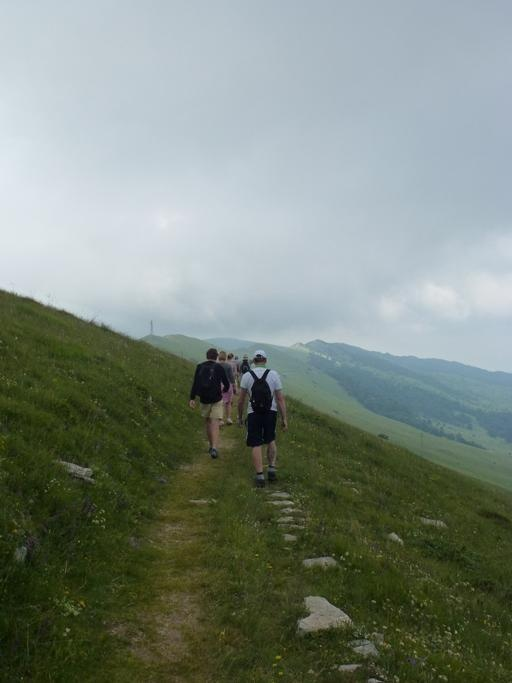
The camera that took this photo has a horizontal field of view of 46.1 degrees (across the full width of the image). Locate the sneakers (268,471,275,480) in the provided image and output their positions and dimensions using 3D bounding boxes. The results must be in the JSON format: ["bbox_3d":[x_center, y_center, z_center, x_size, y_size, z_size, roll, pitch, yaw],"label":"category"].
[{"bbox_3d":[0.379,3.360,15.090,0.179,0.227,0.182,-6,-5,43],"label":"sneakers"}]

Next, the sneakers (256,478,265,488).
[{"bbox_3d":[0.097,3.364,14.330,0.167,0.194,0.204,0,-8,1],"label":"sneakers"}]

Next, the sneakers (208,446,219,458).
[{"bbox_3d":[-1.193,3.070,16.658,0.198,0.189,0.588,-1,-11,1],"label":"sneakers"}]
